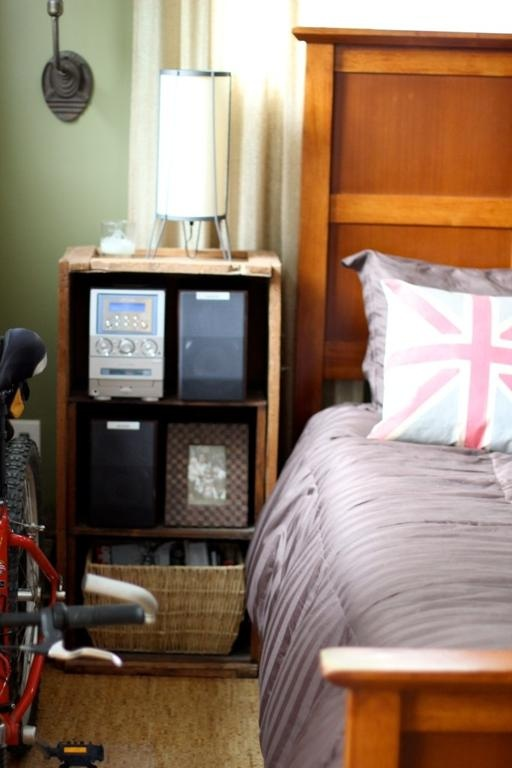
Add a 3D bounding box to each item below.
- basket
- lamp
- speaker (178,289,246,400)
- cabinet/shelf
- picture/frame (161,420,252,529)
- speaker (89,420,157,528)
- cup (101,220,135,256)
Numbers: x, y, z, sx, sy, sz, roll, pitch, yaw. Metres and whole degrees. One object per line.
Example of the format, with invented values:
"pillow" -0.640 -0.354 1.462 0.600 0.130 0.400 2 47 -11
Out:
"basket" -0.241 0.522 1.888 0.398 0.278 0.291 1 -5 -2
"lamp" -0.152 -0.569 1.720 0.185 0.342 0.101 -3 8 -8
"speaker" -0.113 -0.043 1.812 0.189 0.330 0.193 -4 -34 2
"cabinet/shelf" -0.242 0.244 1.955 0.557 1.109 0.405 2 2 -7
"picture/frame" -0.131 0.238 1.865 0.191 0.285 0.017 1 22 -1
"speaker" -0.338 0.217 1.860 0.200 0.311 0.195 -2 15 -22
"cup" -0.361 -0.378 1.865 0.082 0.103 0.090 0 -1 0
